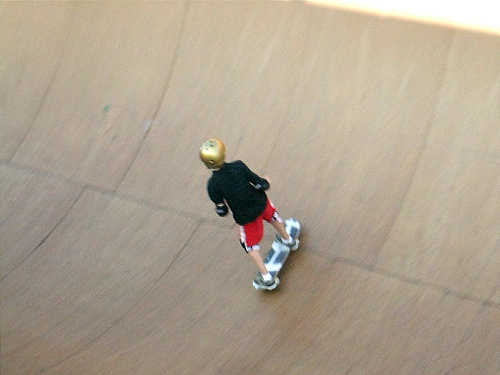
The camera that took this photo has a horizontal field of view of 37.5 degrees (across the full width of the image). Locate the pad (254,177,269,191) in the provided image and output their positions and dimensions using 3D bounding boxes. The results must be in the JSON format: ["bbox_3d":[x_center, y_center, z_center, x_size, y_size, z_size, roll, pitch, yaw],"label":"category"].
[{"bbox_3d":[0.134,-0.025,8.081,0.160,0.078,0.094,18,43,-47],"label":"pad"}]

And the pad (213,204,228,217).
[{"bbox_3d":[-0.349,0.259,8.194,0.172,0.097,0.178,15,-14,12],"label":"pad"}]

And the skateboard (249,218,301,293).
[{"bbox_3d":[0.348,0.852,8.719,0.340,1.138,0.194,28,-11,9],"label":"skateboard"}]

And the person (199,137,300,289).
[{"bbox_3d":[-0.043,0.196,8.392,0.682,0.920,2.000,15,-35,44],"label":"person"}]
